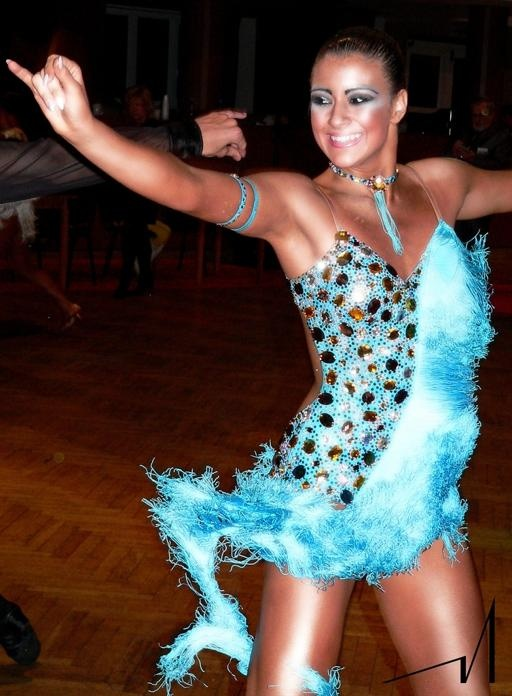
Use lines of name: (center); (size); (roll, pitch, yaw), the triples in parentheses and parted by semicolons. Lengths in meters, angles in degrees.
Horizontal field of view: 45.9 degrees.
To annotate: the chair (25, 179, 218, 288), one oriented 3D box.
chair: (-1.846, -1.562, 8.140); (1.524, 1.530, 1.819); (-2, 12, -10)
